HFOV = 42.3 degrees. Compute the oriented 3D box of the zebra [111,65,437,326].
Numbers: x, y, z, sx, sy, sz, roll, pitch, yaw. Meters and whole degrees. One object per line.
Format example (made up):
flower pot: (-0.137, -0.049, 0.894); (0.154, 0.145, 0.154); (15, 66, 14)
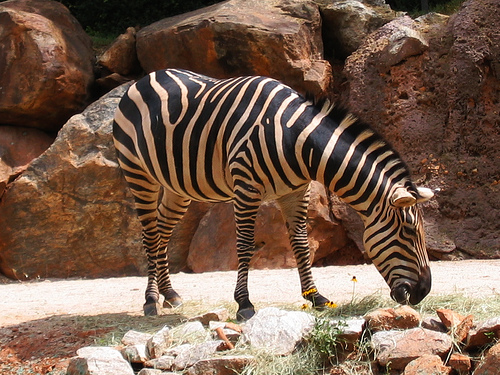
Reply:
zebra: (0.168, 0.132, 7.399); (3.605, 2.867, 1.169); (6, 10, 21)
